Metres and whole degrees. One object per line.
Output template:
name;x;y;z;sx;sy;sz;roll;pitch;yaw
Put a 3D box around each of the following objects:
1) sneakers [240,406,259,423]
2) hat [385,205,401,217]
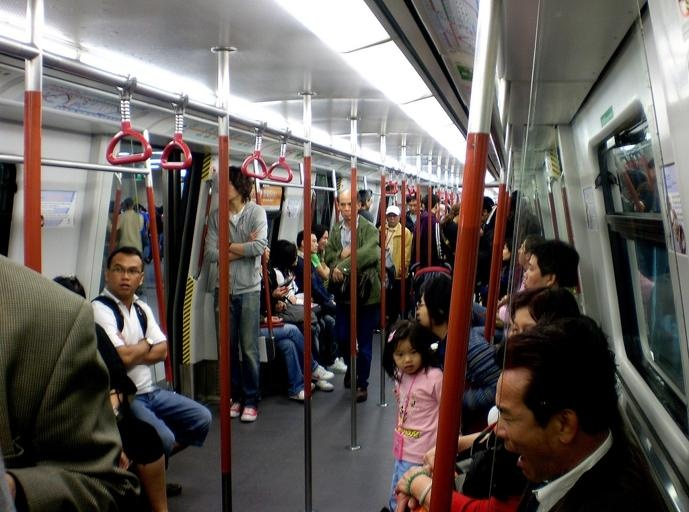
sneakers;-1.035;1.733;5.454;0.146;0.139;0.156;1;-2;2
hat;0.877;-0.771;8.627;0.223;0.188;0.388;-1;-6;5
